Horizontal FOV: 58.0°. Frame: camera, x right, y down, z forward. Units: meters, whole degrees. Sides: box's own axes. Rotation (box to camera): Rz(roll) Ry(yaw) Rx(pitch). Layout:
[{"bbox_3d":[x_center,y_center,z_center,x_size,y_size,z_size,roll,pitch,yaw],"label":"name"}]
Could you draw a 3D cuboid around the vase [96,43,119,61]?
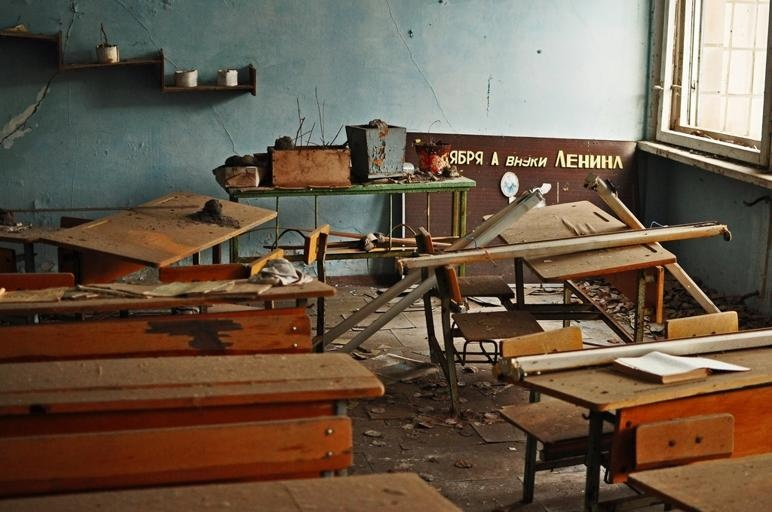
[{"bbox_3d":[-2.714,-1.998,6.845,0.245,0.123,0.196,10,23,8],"label":"vase"}]
